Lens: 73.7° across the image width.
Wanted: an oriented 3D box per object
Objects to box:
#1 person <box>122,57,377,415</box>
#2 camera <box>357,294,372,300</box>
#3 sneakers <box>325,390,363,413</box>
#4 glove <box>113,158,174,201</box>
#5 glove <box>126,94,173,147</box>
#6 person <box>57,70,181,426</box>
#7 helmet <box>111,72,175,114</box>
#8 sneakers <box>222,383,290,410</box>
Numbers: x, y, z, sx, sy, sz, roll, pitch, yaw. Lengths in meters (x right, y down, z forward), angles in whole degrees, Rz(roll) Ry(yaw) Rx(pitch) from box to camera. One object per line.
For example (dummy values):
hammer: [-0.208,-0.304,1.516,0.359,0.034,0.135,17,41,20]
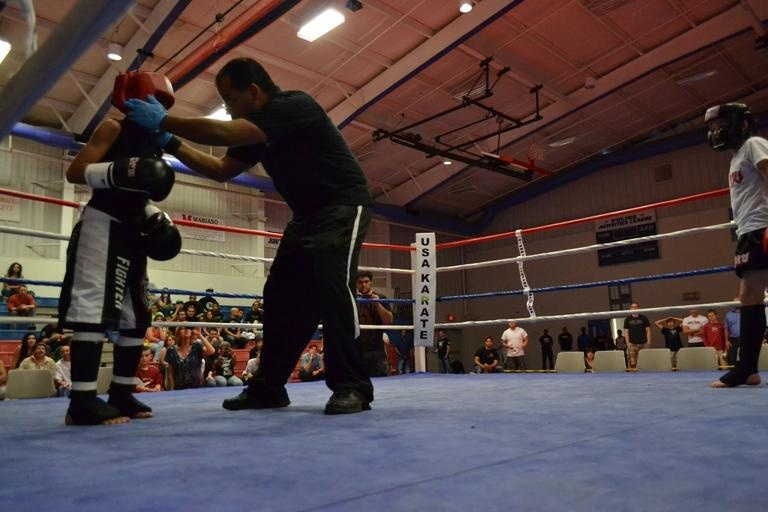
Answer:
person: [-0.686,-0.125,2.462,1.460,1.612,0.766,3,-13,-11]
camera: [-0.167,0.351,4.462,0.106,0.040,0.123,-1,-2,1]
sneakers: [-0.182,0.637,2.217,0.083,0.060,0.160,-6,-18,17]
glove: [-0.959,-0.323,2.055,0.143,0.161,0.192,-7,-14,37]
glove: [-1.023,-0.580,2.216,0.191,0.138,0.166,38,-61,-9]
person: [-1.134,-0.086,2.212,0.473,1.556,0.596,7,-13,-21]
helmet: [-1.101,-0.730,2.335,0.267,0.155,0.195,-2,-4,16]
sneakers: [-0.610,0.687,2.483,0.359,0.120,0.111,4,-16,-13]
